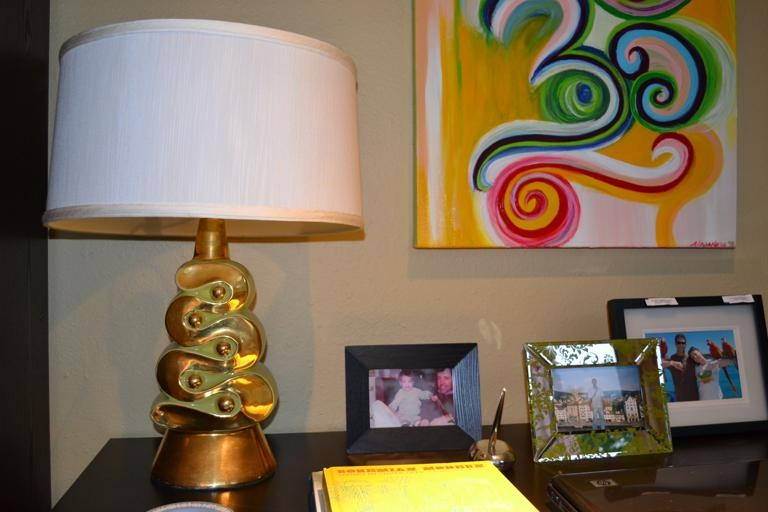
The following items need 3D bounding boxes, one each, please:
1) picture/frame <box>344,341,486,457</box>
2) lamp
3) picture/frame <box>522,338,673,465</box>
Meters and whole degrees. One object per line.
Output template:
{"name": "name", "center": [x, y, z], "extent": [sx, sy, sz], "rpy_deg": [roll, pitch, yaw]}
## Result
{"name": "picture/frame", "center": [0.071, 0.351, 1.538], "extent": [0.237, 0.207, 0.019], "rpy_deg": [-1, -12, -4]}
{"name": "lamp", "center": [-0.279, 0.053, 1.852], "extent": [0.850, 1.272, 0.874], "rpy_deg": [1, -4, -8]}
{"name": "picture/frame", "center": [0.503, 0.342, 1.487], "extent": [0.268, 0.230, 0.020], "rpy_deg": [0, -17, -7]}
